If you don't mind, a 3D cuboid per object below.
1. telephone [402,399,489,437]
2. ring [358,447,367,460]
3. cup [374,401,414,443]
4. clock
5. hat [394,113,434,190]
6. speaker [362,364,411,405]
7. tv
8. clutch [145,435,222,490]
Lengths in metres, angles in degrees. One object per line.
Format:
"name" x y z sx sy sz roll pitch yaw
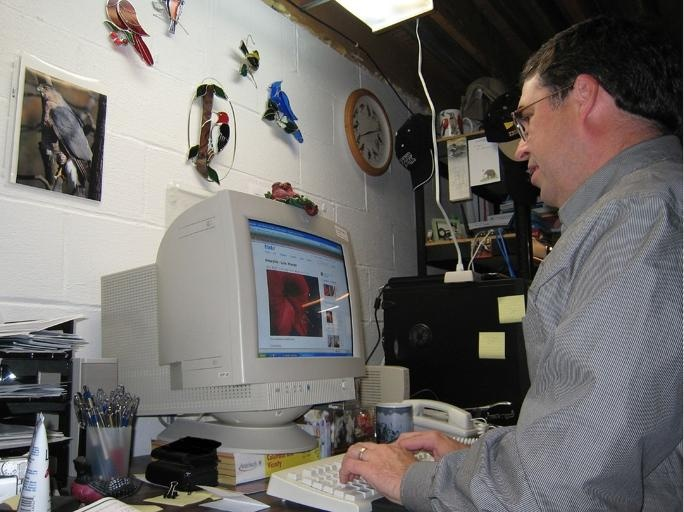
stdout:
"telephone" 0.313 0.453 1.549 0.128 0.086 0.219 6 -13 -44
"ring" 0.041 0.406 1.068 0.014 0.017 0.017 3 -36 -5
"cup" 0.139 0.458 1.422 0.094 0.110 0.107 0 -7 38
"clock" 0.126 -0.646 2.739 0.053 0.483 0.465 -13 -15 29
"hat" 0.415 -0.586 2.947 0.216 0.396 0.227 -9 4 -35
"speaker" 0.150 0.450 1.808 0.178 0.173 0.100 4 -5 -12
"tv" -0.309 0.239 1.588 0.628 0.651 0.658 -13 -14 41
"clutch" -0.357 0.454 1.193 0.113 0.057 0.111 -6 -9 38
